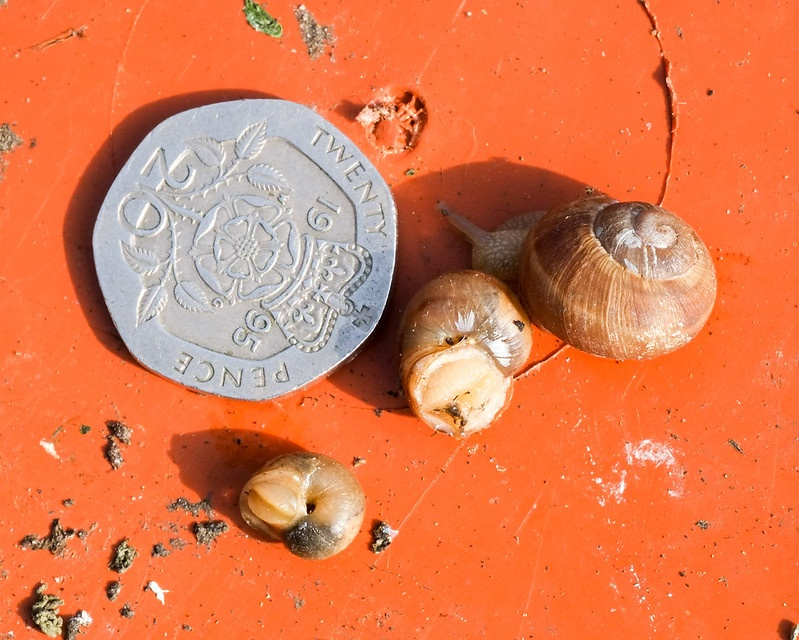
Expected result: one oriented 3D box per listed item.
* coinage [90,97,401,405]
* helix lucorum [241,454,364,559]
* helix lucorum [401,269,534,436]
[{"bbox_3d":[-0.778,-0.386,5.032,1.459,0.211,1.688,-26,89,2],"label":"coinage"},{"bbox_3d":[-0.493,0.927,5.030,0.645,0.225,0.508,27,82,2],"label":"helix lucorum"},{"bbox_3d":[0.337,0.165,4.943,0.620,0.318,0.818,23,94,12],"label":"helix lucorum"}]
